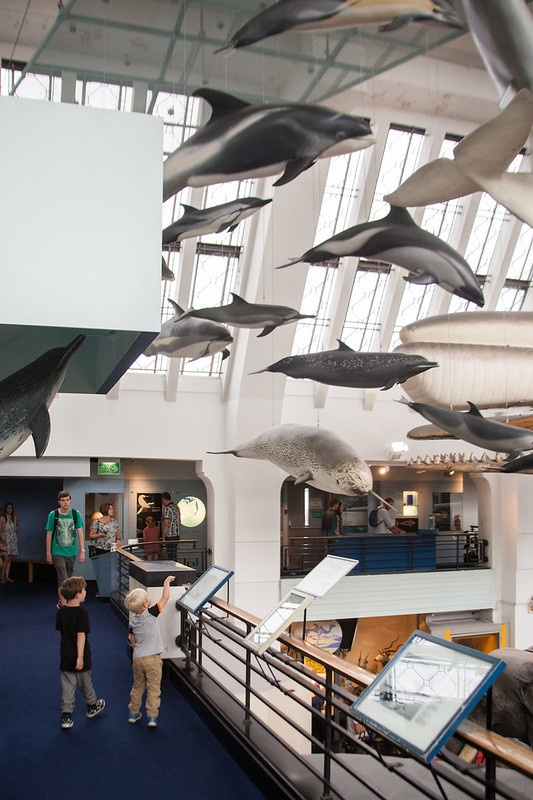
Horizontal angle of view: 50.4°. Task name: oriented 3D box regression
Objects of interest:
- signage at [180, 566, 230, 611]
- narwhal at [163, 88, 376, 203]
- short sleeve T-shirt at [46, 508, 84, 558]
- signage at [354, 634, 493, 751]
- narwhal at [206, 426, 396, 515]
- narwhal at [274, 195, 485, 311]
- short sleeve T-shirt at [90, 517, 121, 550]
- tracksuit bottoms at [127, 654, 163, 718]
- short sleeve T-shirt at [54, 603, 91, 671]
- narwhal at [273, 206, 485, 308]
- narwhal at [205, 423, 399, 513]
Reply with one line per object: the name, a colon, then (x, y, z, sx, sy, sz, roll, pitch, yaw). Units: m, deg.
signage: (-0.471, 1.436, 4.270, 0.306, 0.401, 0.618, 4, -3, -15)
narwhal: (0.013, -1.219, 2.827, 1.008, 0.534, 0.380, 4, -3, -24)
short sleeve T-shirt: (-1.949, 1.292, 5.495, 0.306, 0.479, 0.296, 4, -3, -20)
signage: (0.447, 0.879, 1.681, 0.025, 0.271, 0.281, 36, -32, -25)
narwhal: (0.316, 0.594, 5.623, 0.639, 0.598, 2.089, 28, -4, -35)
narwhal: (0.844, -1.126, 4.083, 1.471, 0.643, 0.426, 17, 8, 18)
short sleeve T-shirt: (-2.588, 2.144, 9.100, 0.432, 0.516, 0.688, 4, -3, -17)
tracksuit bottoms: (-0.830, 1.985, 3.924, 0.207, 0.533, 0.361, 3, -3, -10)
short sleeve T-shirt: (-1.237, 1.543, 3.648, 0.219, 0.478, 0.282, 4, -3, -19)
narwhal: (0.848, -1.113, 4.075, 1.492, 0.645, 0.454, 15, 6, 13)
narwhal: (0.381, 0.534, 5.349, 0.467, 0.609, 1.604, 4, -3, -25)
